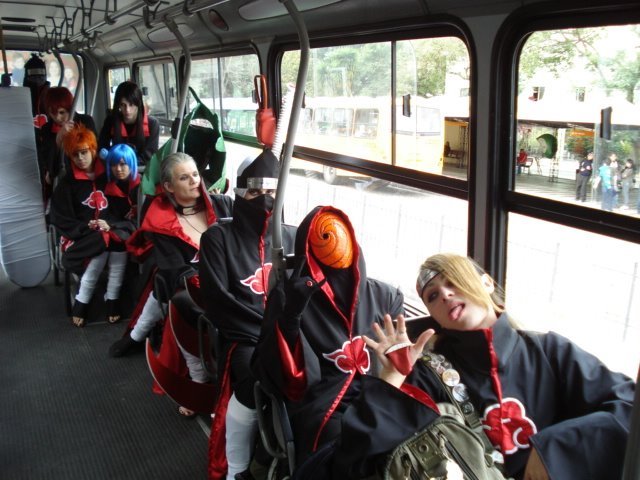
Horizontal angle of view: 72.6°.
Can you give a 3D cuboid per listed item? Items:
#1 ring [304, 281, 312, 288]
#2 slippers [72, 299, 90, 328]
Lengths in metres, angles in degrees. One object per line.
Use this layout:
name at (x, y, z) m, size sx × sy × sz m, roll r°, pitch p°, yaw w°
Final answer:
ring at (-0.048, 0.179, 1.837) m, size 0.037 × 0.029 × 0.012 m, roll 12°, pitch 16°, yaw 30°
slippers at (-2.670, 0.749, 4.875) m, size 0.108 × 0.399 × 0.149 m, roll 0°, pitch -2°, yaw -36°
